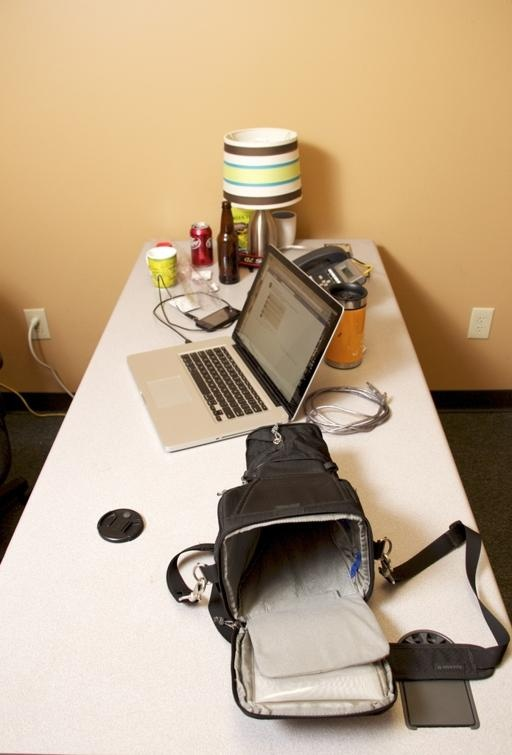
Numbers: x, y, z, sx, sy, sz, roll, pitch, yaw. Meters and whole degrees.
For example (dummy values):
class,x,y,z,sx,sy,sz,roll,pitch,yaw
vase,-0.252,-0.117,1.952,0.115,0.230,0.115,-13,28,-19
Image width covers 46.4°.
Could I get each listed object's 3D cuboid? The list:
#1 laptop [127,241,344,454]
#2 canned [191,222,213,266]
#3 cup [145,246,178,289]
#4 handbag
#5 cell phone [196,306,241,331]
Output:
class,x,y,z,sx,sy,sz,roll,pitch,yaw
laptop,-0.022,0.006,1.171,0.381,0.261,0.406,-10,43,-15
canned,-0.148,-0.359,1.628,0.062,0.111,0.065,-11,41,-15
cup,-0.231,-0.280,1.587,0.097,0.111,0.100,1,42,-1
handbag,0.098,0.237,0.696,0.415,0.169,0.285,-2,38,-5
cell phone,-0.086,-0.134,1.389,0.057,0.011,0.108,18,41,19
